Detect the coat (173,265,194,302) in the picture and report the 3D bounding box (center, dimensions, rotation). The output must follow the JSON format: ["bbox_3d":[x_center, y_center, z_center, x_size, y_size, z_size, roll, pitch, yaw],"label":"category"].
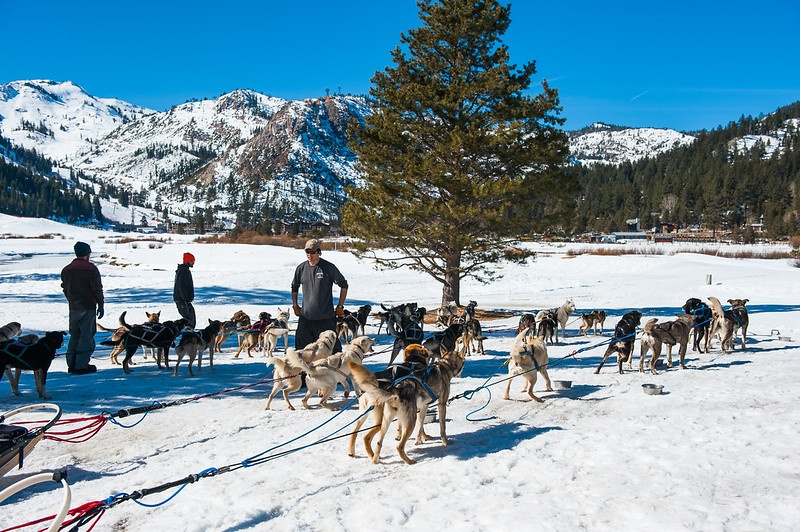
[{"bbox_3d":[-5.480,0.425,18.103,0.441,0.987,0.466,-1,2,-23],"label":"coat"}]
